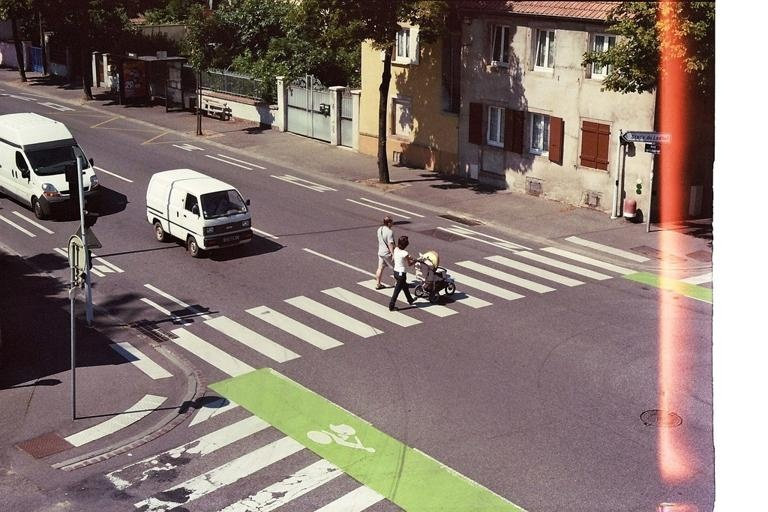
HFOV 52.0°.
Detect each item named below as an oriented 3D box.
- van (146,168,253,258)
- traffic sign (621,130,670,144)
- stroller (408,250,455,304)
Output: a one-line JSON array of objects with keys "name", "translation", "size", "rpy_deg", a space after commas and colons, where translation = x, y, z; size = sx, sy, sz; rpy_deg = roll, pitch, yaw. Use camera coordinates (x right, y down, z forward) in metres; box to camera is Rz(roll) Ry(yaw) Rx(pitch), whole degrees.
[{"name": "van", "translation": [-7.055, -1.699, 30.542], "size": [2.538, 2.439, 4.283], "rpy_deg": [-18, 31, -40]}, {"name": "traffic sign", "translation": [10.619, -4.823, 31.964], "size": [1.718, 0.625, 1.489], "rpy_deg": [3, 18, 11]}, {"name": "stroller", "translation": [1.625, 0.559, 26.641], "size": [1.764, 1.673, 1.131], "rpy_deg": [-13, 21, -26]}]
